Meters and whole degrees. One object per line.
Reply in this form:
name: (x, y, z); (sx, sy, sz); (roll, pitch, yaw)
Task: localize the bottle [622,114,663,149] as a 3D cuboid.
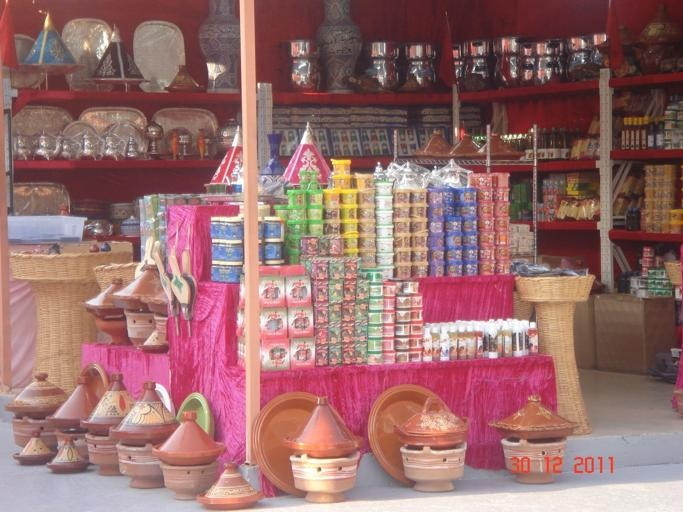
bottle: (2.553, -1.043, 8.808); (0.180, 0.297, 0.320); (-2, 3, -34)
